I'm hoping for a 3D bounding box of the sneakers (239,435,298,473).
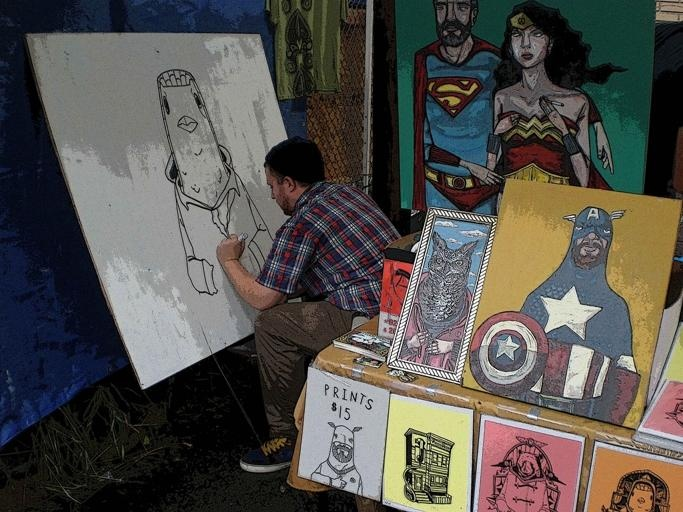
[{"bbox_3d":[-0.399,1.079,3.867,0.379,0.176,0.144,0,15,-8],"label":"sneakers"}]
